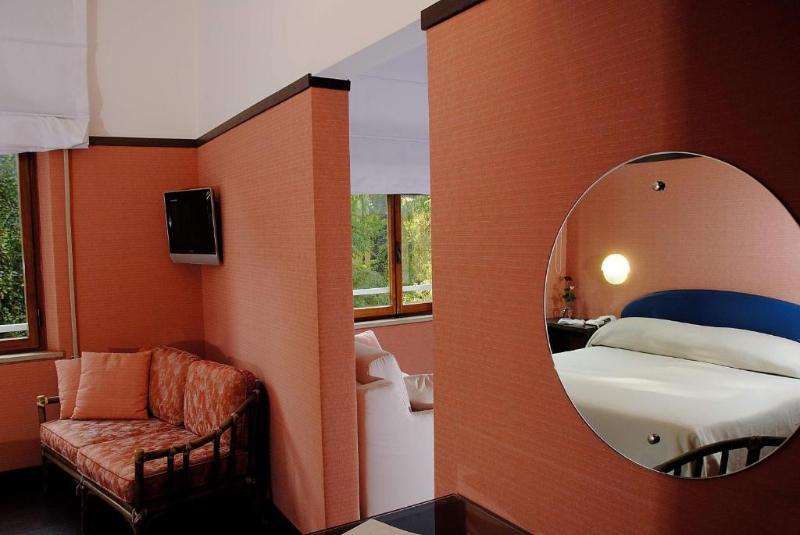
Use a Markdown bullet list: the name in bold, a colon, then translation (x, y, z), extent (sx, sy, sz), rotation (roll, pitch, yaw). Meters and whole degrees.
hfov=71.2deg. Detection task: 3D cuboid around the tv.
- **tv**: translation (-1.660, -0.341, 4.436), extent (0.200, 0.583, 0.674), rotation (0, -4, -40)
